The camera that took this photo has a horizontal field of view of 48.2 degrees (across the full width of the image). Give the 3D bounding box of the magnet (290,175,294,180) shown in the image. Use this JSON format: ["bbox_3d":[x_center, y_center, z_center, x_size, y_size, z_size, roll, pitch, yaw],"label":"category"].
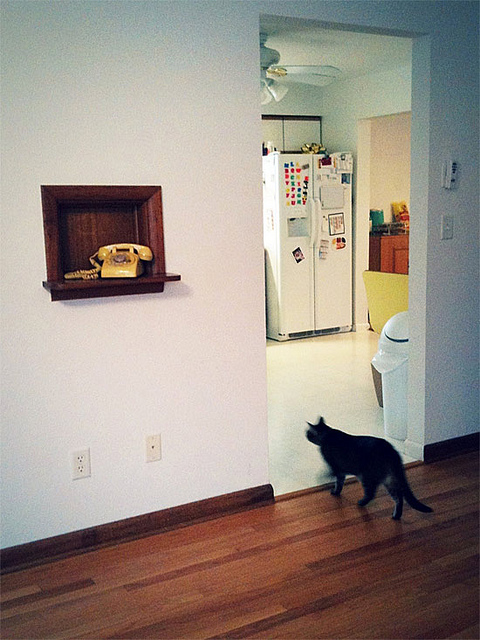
[{"bbox_3d":[0.536,-1.461,5.492,0.033,0.037,0.008,-2,4,-29],"label":"magnet"}]

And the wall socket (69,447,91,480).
[{"bbox_3d":[-0.580,0.523,1.945,0.072,0.107,0.015,-3,4,-22],"label":"wall socket"}]

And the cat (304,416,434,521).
[{"bbox_3d":[0.554,0.677,2.392,0.674,0.323,0.152,12,8,44],"label":"cat"}]

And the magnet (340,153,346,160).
[{"bbox_3d":[1.110,-1.750,5.735,0.052,0.108,0.055,-1,9,-7],"label":"magnet"}]

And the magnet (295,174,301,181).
[{"bbox_3d":[0.600,-1.472,5.521,0.068,0.053,0.012,-4,4,-32],"label":"magnet"}]

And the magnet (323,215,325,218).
[{"bbox_3d":[0.892,-1.098,5.698,0.019,0.039,0.019,-5,8,-21],"label":"magnet"}]

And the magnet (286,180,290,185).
[{"bbox_3d":[0.492,-1.406,5.475,0.039,0.045,0.008,-4,4,-36],"label":"magnet"}]

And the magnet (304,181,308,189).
[{"bbox_3d":[0.681,-1.409,5.567,0.047,0.070,0.026,-8,16,-21],"label":"magnet"}]

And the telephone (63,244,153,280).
[{"bbox_3d":[-0.439,-0.230,1.903,0.264,0.140,0.216,0,10,-16],"label":"telephone"}]

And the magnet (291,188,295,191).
[{"bbox_3d":[0.547,-1.343,5.508,0.033,0.035,0.008,-2,4,-13],"label":"magnet"}]
